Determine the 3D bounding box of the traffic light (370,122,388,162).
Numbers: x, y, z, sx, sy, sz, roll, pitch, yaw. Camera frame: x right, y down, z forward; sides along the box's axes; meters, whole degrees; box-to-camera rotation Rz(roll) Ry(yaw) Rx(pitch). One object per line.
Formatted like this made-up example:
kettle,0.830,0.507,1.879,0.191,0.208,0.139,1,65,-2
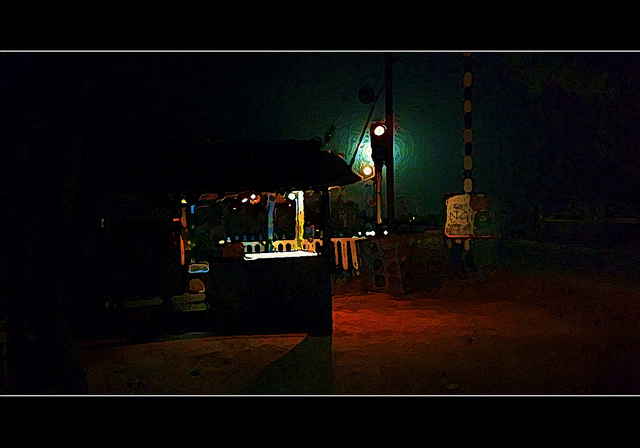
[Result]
traffic light,0.464,-0.666,4.033,0.161,0.342,0.075,-4,36,5
